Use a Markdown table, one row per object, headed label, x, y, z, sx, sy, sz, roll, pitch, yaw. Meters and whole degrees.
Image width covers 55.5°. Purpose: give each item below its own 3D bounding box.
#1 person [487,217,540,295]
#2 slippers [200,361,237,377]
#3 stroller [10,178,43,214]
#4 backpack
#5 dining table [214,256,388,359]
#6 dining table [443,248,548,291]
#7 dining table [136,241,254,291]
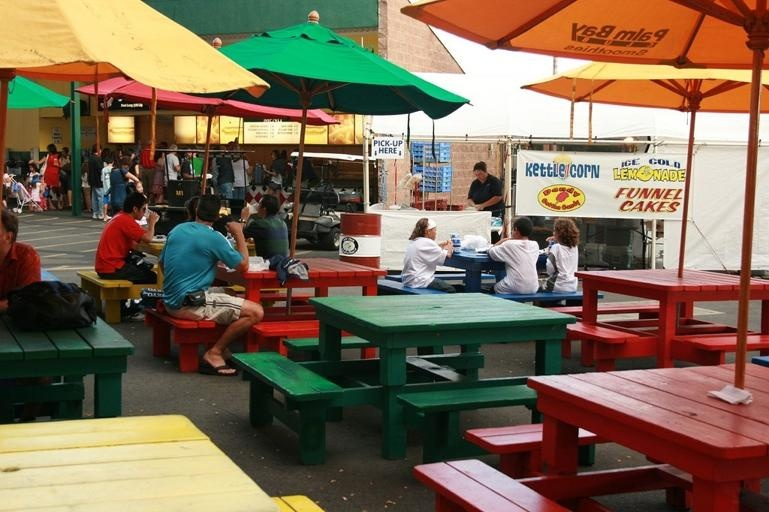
| label | x | y | z | sx | sy | sz | roll | pitch | yaw |
| --- | --- | --- | --- | --- | --- | --- | --- | --- | --- |
| person | 1.815 | 0.121 | 10.124 | 0.778 | 1.272 | 0.834 | -1 | 6 | -7 |
| slippers | -1.828 | 1.259 | 8.036 | 0.244 | 0.089 | 0.216 | -1 | -3 | 28 |
| stroller | -14.435 | -2.498 | 29.466 | 1.259 | 1.237 | 1.044 | 1 | -2 | -30 |
| backpack | -2.476 | 0.367 | 5.488 | 0.493 | 0.226 | 0.451 | 1 | 4 | 3 |
| dining table | -0.795 | 0.508 | 8.504 | 1.571 | 0.768 | 1.368 | 0 | 1 | -27 |
| dining table | 1.374 | 0.147 | 10.504 | 1.037 | 0.640 | 0.916 | -1 | 4 | -23 |
| dining table | -2.821 | 0.051 | 9.705 | 1.187 | 0.605 | 1.086 | 0 | -2 | 1 |
